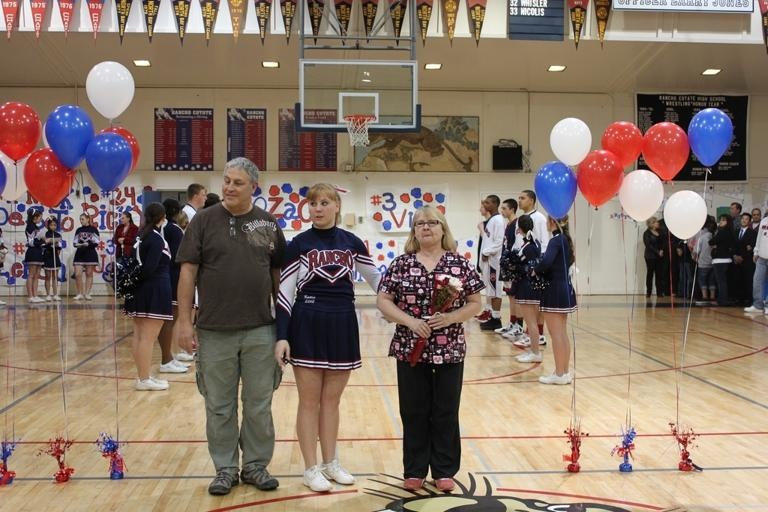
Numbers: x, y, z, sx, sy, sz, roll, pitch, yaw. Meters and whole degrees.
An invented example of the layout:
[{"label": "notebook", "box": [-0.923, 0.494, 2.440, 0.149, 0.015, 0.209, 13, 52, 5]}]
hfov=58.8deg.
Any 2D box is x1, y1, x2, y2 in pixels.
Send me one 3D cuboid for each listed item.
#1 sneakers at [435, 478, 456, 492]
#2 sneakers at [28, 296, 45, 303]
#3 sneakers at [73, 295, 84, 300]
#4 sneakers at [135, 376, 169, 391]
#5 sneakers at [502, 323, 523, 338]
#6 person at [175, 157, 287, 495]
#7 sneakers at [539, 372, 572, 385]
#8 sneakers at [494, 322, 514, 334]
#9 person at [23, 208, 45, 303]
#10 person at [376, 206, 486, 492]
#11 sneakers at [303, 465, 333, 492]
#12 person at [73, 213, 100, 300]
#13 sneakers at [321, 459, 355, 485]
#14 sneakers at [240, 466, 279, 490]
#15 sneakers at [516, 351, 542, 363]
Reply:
[{"label": "sneakers", "box": [0.560, 2.073, 6.246, 0.194, 0.119, 0.145, 1, 10, 4]}, {"label": "sneakers", "box": [-7.330, 0.928, 14.314, 0.225, 0.091, 0.148, -2, -2, 34]}, {"label": "sneakers", "box": [-6.710, 0.910, 14.950, 0.238, 0.115, 0.117, -1, -4, 43]}, {"label": "sneakers", "box": [-2.816, 1.558, 8.271, 0.259, 0.107, 0.199, 0, 1, -6]}, {"label": "sneakers", "box": [2.134, 1.252, 11.222, 0.396, 0.192, 0.155, -2, 0, -4]}, {"label": "person", "box": [-1.372, 0.631, 6.226, 0.971, 2.978, 0.645, -2, 9, -10]}, {"label": "sneakers", "box": [2.160, 1.544, 8.591, 0.297, 0.125, 0.182, 0, -6, 12]}, {"label": "sneakers", "box": [2.047, 1.241, 11.572, 0.363, 0.176, 0.129, -6, -6, 15]}, {"label": "person", "box": [-7.328, -0.027, 14.280, 0.416, 1.993, 1.351, -5, 11, -28]}, {"label": "person", "box": [0.419, 0.842, 6.258, 0.917, 2.539, 0.524, 1, 9, 5]}, {"label": "sneakers", "box": [-0.613, 2.045, 6.266, 0.146, 0.148, 0.295, 2, -3, -35]}, {"label": "person", "box": [-6.522, 0.031, 14.919, 0.607, 1.899, 0.686, -4, 10, -25]}, {"label": "sneakers", "box": [-0.439, 2.004, 6.384, 0.352, 0.176, 0.146, 9, 10, 33]}, {"label": "sneakers", "box": [-1.144, 2.026, 6.271, 0.329, 0.168, 0.159, 2, -1, 22]}, {"label": "sneakers", "box": [2.038, 1.415, 9.563, 0.299, 0.147, 0.159, 3, -4, 5]}]
